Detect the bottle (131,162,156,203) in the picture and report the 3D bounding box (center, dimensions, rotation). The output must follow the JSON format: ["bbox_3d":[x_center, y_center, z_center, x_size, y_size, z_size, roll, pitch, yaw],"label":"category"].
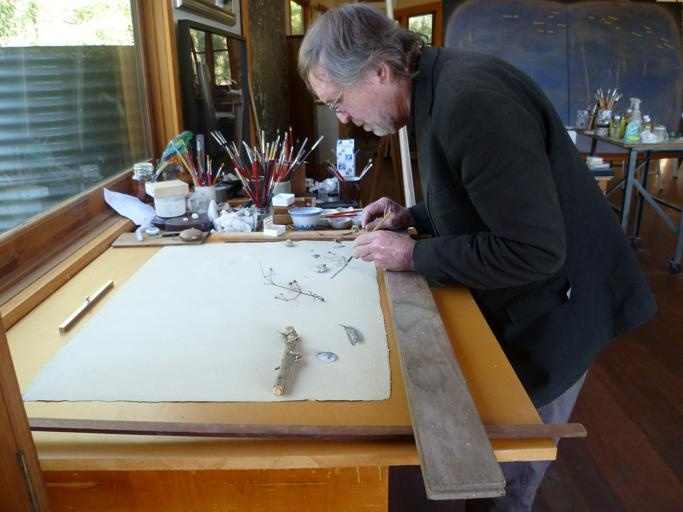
[{"bbox_3d":[-0.865,-0.322,2.090,0.087,0.154,0.153,-8,21,-22],"label":"bottle"}]

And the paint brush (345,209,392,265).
[{"bbox_3d":[0.089,-0.058,1.508,0.026,0.029,0.231,8,58,50],"label":"paint brush"}]
